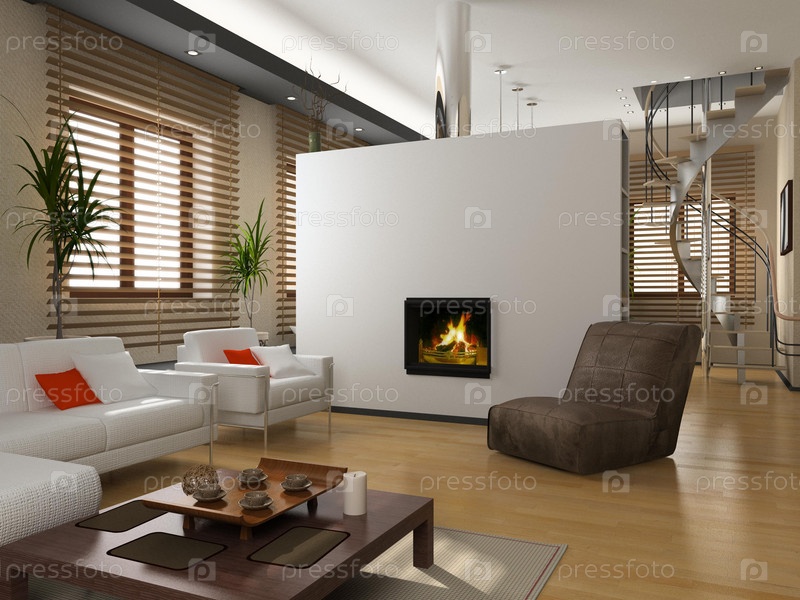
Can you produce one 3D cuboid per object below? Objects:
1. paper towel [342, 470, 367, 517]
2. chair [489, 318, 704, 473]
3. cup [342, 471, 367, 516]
[{"bbox_3d":[-0.211,0.887,2.622,0.117,0.167,0.120,-4,-8,24],"label":"paper towel"},{"bbox_3d":[1.577,0.715,4.603,1.441,1.085,1.011,5,-5,-41],"label":"chair"},{"bbox_3d":[-0.211,0.886,2.621,0.137,0.165,0.141,-1,-7,0],"label":"cup"}]
